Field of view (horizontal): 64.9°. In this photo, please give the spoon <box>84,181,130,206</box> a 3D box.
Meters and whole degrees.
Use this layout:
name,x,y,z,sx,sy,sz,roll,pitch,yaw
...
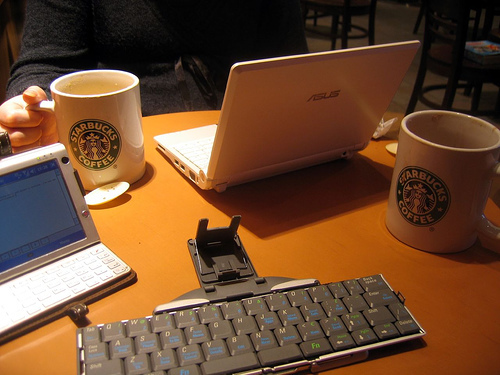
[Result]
name,x,y,z,sx,sy,sz,roll,pitch,yaw
spoon,-0.281,0.011,0.759,0.050,0.011,0.050,-24,40,-24

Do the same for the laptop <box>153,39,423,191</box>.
name,x,y,z,sx,sy,sz,roll,pitch,yaw
laptop,0.069,-0.172,0.780,0.399,0.272,0.361,-18,35,-28
